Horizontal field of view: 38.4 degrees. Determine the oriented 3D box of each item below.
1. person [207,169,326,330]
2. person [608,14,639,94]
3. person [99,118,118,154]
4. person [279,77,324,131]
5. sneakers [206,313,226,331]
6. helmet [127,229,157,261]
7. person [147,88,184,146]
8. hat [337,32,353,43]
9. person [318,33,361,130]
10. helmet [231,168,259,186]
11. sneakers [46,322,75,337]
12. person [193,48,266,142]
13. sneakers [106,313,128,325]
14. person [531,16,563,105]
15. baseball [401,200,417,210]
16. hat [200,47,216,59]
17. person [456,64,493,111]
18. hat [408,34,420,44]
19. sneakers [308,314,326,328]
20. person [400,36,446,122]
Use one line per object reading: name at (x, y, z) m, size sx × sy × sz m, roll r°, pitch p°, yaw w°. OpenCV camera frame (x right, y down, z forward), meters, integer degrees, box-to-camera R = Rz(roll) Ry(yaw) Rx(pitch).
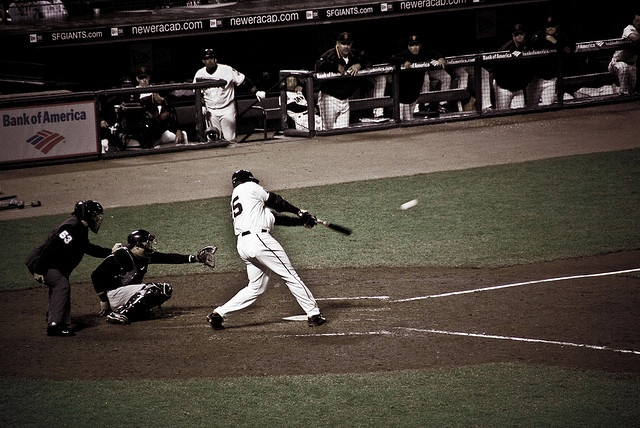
person at (-0.847, 0.575, 13.654) m, size 1.663 × 2.220 × 0.693 m, roll -3°, pitch 11°, yaw -1°
person at (7.692, -3.967, 23.270) m, size 0.710 × 1.925 × 0.939 m, roll 0°, pitch 11°, yaw 16°
person at (-4.813, -1.765, 20.974) m, size 0.374 × 0.795 × 0.465 m, roll -5°, pitch 11°, yaw -11°
person at (-0.560, -2.620, 22.186) m, size 0.511 × 1.162 × 0.998 m, roll -14°, pitch 9°, yaw -25°
sneakers at (-1.530, 1.603, 13.619) m, size 0.281 × 0.259 × 0.242 m, roll -12°, pitch -8°, yaw -3°
helmet at (-2.711, 0.412, 13.909) m, size 0.515 × 0.386 × 0.356 m, roll -8°, pitch 15°, yaw -23°
person at (-3.530, -2.177, 21.180) m, size 0.600 × 1.213 × 1.081 m, roll -2°, pitch 10°, yaw 4°
hat at (0.574, -4.105, 21.585) m, size 0.344 × 0.224 × 0.418 m, roll 2°, pitch 9°, yaw -7°
person at (0.452, -3.102, 21.780) m, size 1.066 × 2.241 × 0.843 m, roll -3°, pitch 11°, yaw 1°
helmet at (-1.126, -0.528, 13.926) m, size 0.363 × 0.221 × 0.242 m, roll 13°, pitch -22°, yaw -31°
sneakers at (-3.852, 1.702, 13.577) m, size 0.427 × 0.142 × 0.171 m, roll 0°, pitch 8°, yaw 0°
person at (-2.283, -2.742, 21.601) m, size 1.423 × 2.202 × 0.819 m, roll -6°, pitch 11°, yaw -17°
sneakers at (-3.059, 1.577, 13.944) m, size 0.406 × 0.147 × 0.133 m, roll 1°, pitch 4°, yaw 4°
person at (5.729, -3.760, 23.152) m, size 0.822 × 2.089 × 1.139 m, roll 0°, pitch 11°, yaw 12°
baseball at (1.546, -0.150, 15.959) m, size 0.310 × 0.057 × 0.159 m, roll -14°, pitch 30°, yaw 20°
hat at (-2.581, -3.690, 21.344) m, size 0.260 × 0.231 × 0.244 m, roll -4°, pitch 10°, yaw -12°
person at (3.823, -3.097, 22.912) m, size 0.886 × 1.074 × 0.704 m, roll -1°, pitch 10°, yaw 9°
hat at (2.208, -4.158, 22.028) m, size 0.363 × 0.157 × 0.255 m, roll 5°, pitch 5°, yaw 32°
sneakers at (-0.056, 1.564, 13.537) m, size 0.142 × 0.109 × 0.281 m, roll -11°, pitch 9°, yaw -26°
person at (2.467, -3.277, 22.300) m, size 1.111 × 2.001 × 0.812 m, roll -2°, pitch 11°, yaw 4°
